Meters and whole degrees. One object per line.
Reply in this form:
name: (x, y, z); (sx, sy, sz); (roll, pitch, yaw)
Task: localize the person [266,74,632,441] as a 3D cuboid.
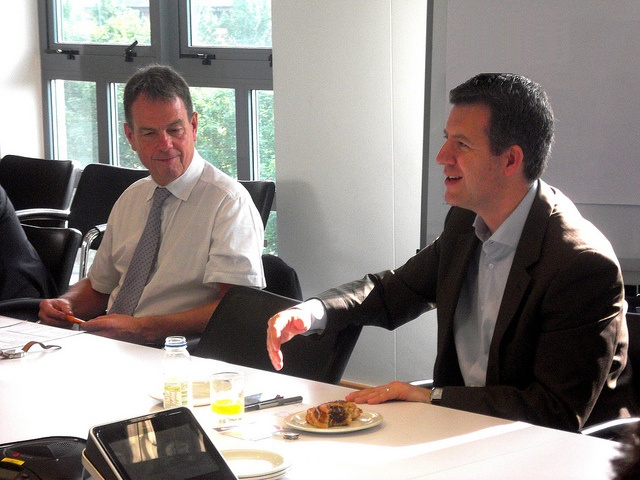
person: (0.495, 0.012, 2.238); (1.105, 1.752, 0.906); (2, 0, -17)

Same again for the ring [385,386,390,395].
ring: (0.169, 0.376, 1.421); (0.003, 0.010, 0.010); (32, -52, -32)

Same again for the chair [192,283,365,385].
chair: (-0.101, 0.353, 1.971); (0.387, 0.351, 0.581); (9, -6, 32)

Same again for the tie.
tie: (-0.721, 0.092, 2.342); (0.143, 0.597, 0.060); (16, -2, 21)

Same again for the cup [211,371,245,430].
cup: (-0.210, 0.366, 1.282); (0.072, 0.116, 0.068); (-3, -17, -1)

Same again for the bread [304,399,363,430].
bread: (0.033, 0.377, 1.255); (0.075, 0.034, 0.056); (-3, -1, -35)

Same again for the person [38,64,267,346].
person: (-0.713, -0.014, 2.349); (0.885, 1.326, 0.764); (5, 3, 20)
